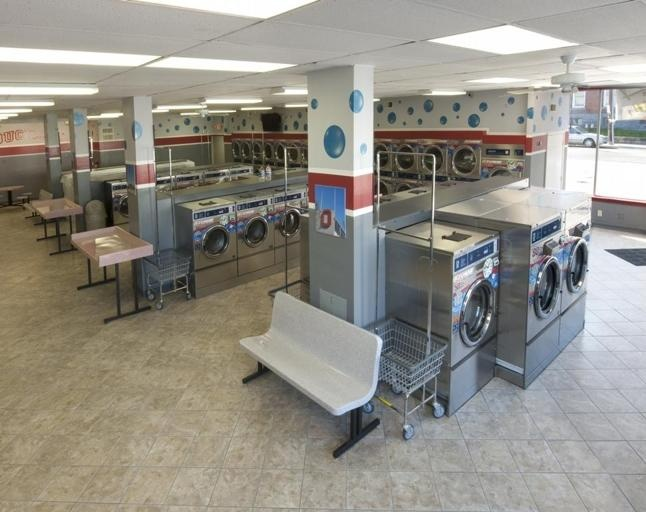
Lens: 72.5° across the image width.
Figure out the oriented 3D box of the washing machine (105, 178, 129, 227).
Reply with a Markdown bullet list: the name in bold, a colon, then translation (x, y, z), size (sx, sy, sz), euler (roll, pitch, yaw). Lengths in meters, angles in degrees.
- **washing machine**: translation (-5.055, -1.295, 10.829), size (0.497, 0.975, 0.546), euler (17, 21, 33)

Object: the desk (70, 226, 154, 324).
- **desk**: translation (-3.332, 0.356, 6.993), size (0.621, 0.771, 1.201), euler (-12, 24, -37)

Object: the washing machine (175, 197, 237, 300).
- **washing machine**: translation (-1.907, -0.174, 7.437), size (0.549, 1.504, 0.860), euler (21, 27, 37)

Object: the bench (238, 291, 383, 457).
- **bench**: translation (-0.206, 1.124, 4.509), size (0.677, 1.024, 1.684), euler (-15, 21, -40)

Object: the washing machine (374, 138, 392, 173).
- **washing machine**: translation (1.393, -2.394, 10.607), size (0.548, 0.695, 0.487), euler (3, 13, 21)

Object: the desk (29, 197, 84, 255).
- **desk**: translation (-5.915, -0.676, 9.760), size (0.762, 0.931, 1.449), euler (-14, 25, -41)

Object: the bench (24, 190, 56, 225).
- **bench**: translation (-7.492, -1.233, 11.601), size (0.742, 0.906, 1.133), euler (-12, 28, -40)

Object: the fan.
- **fan**: translation (2.807, -2.152, 5.213), size (1.185, 0.452, 1.161), euler (-17, 22, -39)

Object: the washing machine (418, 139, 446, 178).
- **washing machine**: translation (2.435, -2.102, 9.735), size (0.520, 0.814, 0.542), euler (-3, 16, -1)

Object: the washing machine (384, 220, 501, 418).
- **washing machine**: translation (1.336, 0.602, 4.909), size (1.102, 1.793, 1.092), euler (-11, 18, -21)

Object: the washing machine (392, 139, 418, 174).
- **washing machine**: translation (1.916, -2.248, 10.155), size (0.449, 0.714, 0.731), euler (-4, 17, -3)

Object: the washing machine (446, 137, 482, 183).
- **washing machine**: translation (3.124, -2.105, 9.513), size (0.706, 0.847, 0.401), euler (11, 32, 34)
